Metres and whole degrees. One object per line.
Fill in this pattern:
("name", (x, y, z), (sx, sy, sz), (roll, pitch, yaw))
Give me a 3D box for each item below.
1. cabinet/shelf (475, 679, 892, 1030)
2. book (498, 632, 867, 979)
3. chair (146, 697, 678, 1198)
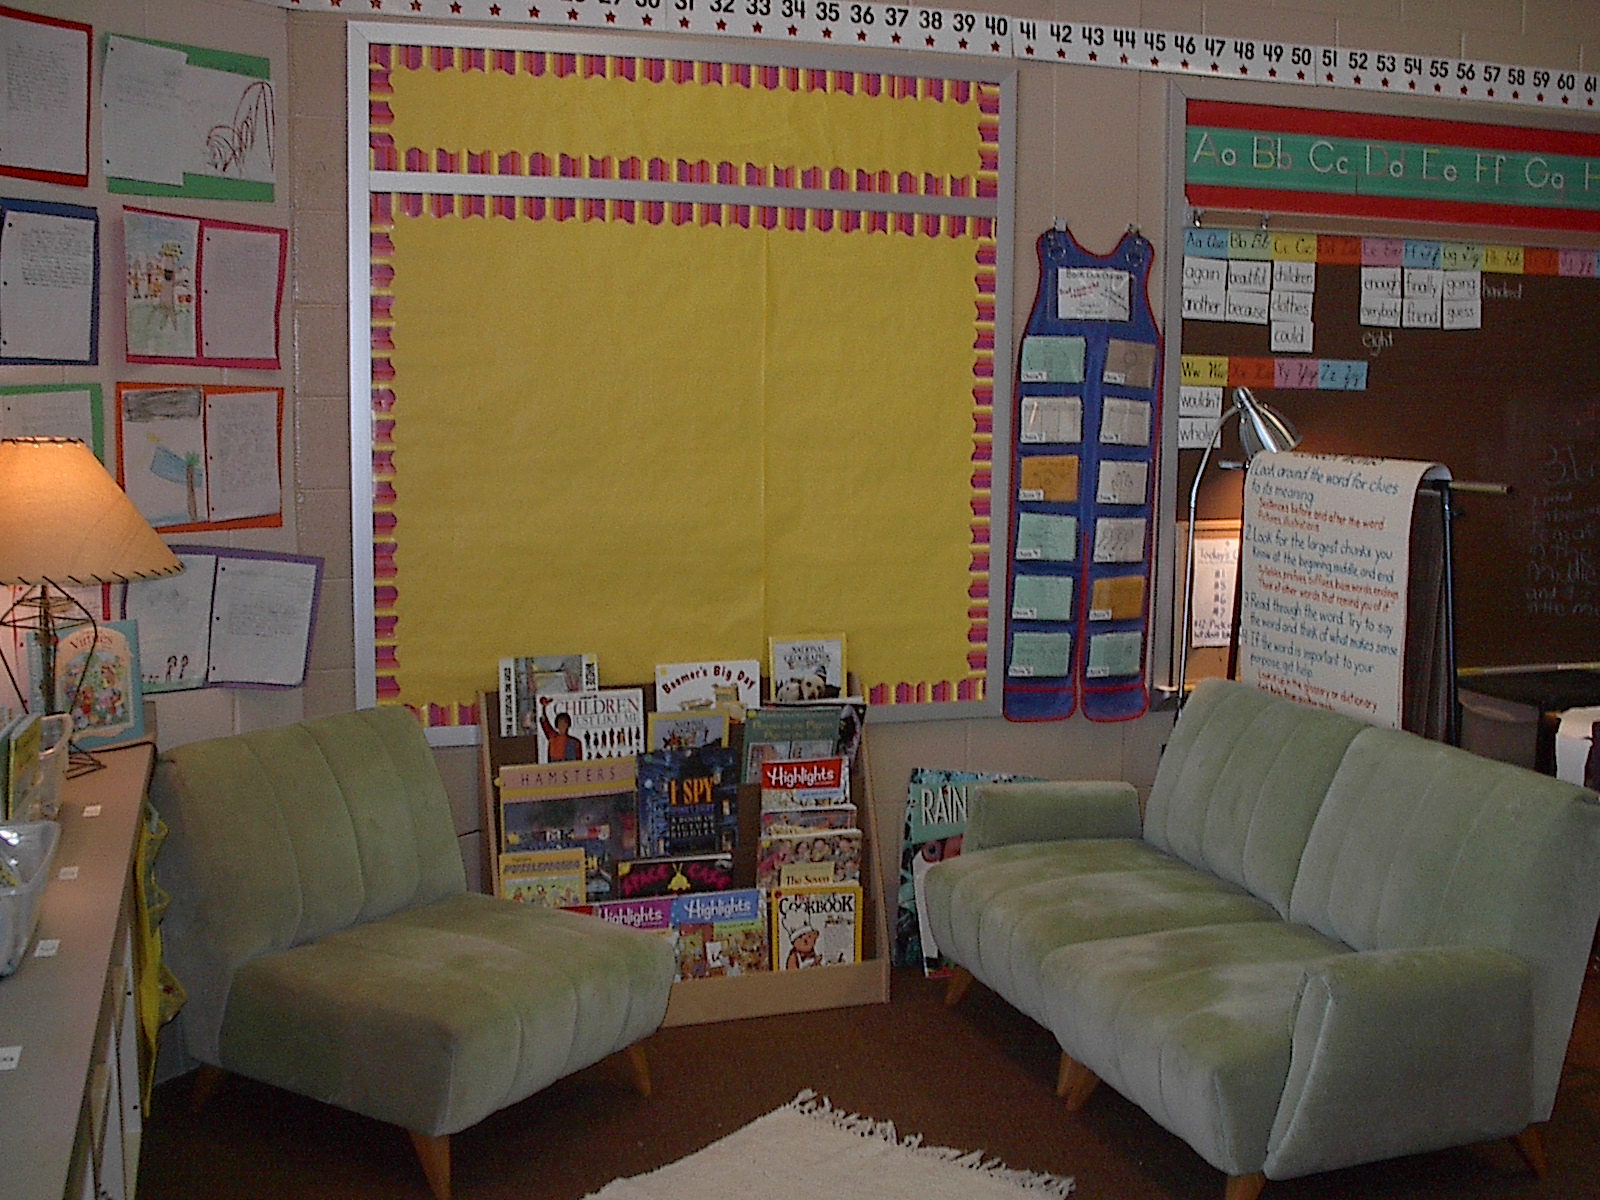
("cabinet/shelf", (-0.367, 0.473, 4.749), (1.466, 1.404, 0.860), (-1, -1, -16))
("book", (-0.407, 0.676, 4.499), (0.879, 0.910, 0.349), (-1, 1, -15))
("chair", (-0.999, 0.854, 4.007), (1.106, 1.319, 1.107), (4, 6, 30))
